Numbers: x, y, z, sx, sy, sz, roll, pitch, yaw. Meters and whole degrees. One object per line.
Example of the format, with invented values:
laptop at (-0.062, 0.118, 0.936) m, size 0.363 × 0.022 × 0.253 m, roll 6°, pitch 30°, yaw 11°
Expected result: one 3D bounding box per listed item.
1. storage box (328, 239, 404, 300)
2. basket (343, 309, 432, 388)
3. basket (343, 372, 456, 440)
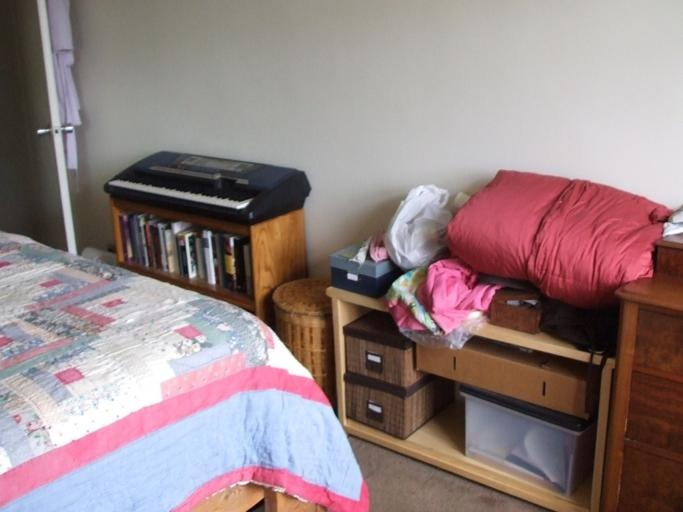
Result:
storage box at (0.088, 0.069, 2.278) m, size 0.218 × 0.133 × 0.221 m, roll 14°, pitch 24°, yaw 31°
basket at (0.170, 0.415, 2.296) m, size 0.296 × 0.190 × 0.296 m, roll 9°, pitch 15°, yaw 31°
basket at (0.286, 0.594, 2.459) m, size 0.321 × 0.209 × 0.330 m, roll 8°, pitch 14°, yaw 33°
